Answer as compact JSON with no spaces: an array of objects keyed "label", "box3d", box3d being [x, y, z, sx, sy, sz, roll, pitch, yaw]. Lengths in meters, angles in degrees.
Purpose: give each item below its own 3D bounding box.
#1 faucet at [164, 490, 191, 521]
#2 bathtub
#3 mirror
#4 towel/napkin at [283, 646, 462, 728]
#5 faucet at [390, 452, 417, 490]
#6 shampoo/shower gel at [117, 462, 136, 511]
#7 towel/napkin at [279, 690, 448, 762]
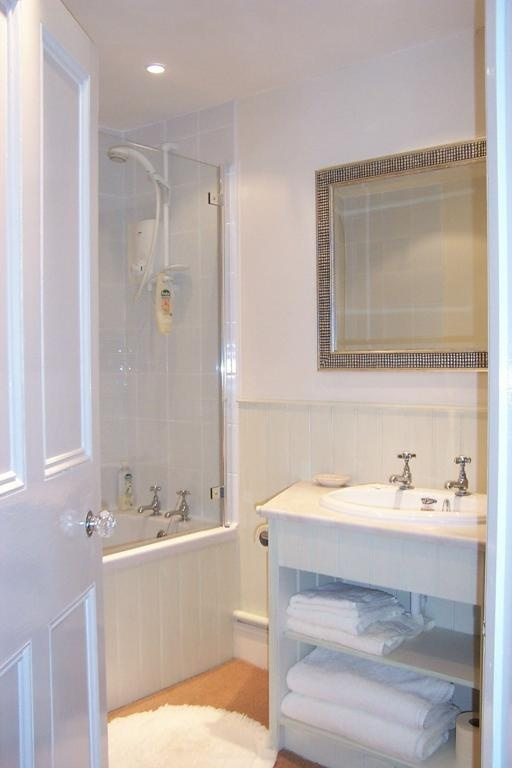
[{"label":"faucet","box3d":[-0.291,0.474,2.491,0.061,0.127,0.132,-3,-5,34]},{"label":"bathtub","box3d":[-0.401,0.754,2.427,0.391,0.579,0.768,-4,-2,37]},{"label":"mirror","box3d":[0.494,-0.425,2.086,0.030,0.863,0.737,-5,5,-42]},{"label":"towel/napkin","box3d":[0.305,0.827,1.761,0.321,0.092,0.248,0,-4,32]},{"label":"faucet","box3d":[0.469,0.278,2.018,0.073,0.132,0.128,-4,-7,44]},{"label":"shampoo/shower gel","box3d":[-0.503,0.398,2.462,0.066,0.164,0.052,-1,1,-14]},{"label":"towel/napkin","box3d":[0.285,0.933,1.778,0.477,0.116,0.192,0,1,30]}]
